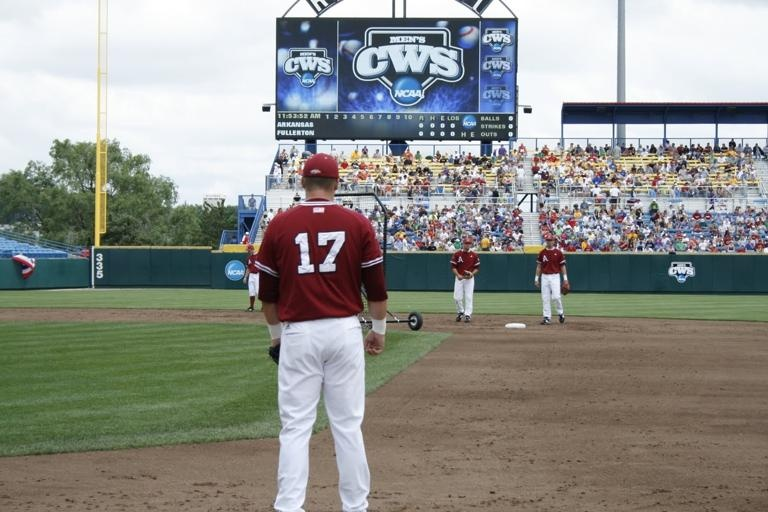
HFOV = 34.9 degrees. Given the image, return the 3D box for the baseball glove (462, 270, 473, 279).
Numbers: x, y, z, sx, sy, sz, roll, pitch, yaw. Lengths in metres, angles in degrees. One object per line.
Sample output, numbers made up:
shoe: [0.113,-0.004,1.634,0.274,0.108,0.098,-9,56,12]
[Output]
baseball glove: [2.803,0.648,40.745,0.317,0.274,0.115,1,-1,-26]

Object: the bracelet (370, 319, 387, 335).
bracelet: [-0.123,1.712,29.337,0.348,0.344,0.377,28,23,38]

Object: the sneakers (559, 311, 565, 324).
sneakers: [5.864,2.012,40.395,0.164,0.469,0.201,-2,-39,10]

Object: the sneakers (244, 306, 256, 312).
sneakers: [-4.806,1.933,43.841,0.159,0.176,0.422,2,0,-35]

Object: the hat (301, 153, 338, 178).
hat: [-1.498,-2.062,29.627,0.913,0.558,1.325,2,6,1]

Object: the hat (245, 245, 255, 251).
hat: [-4.864,-0.236,44.098,0.245,0.241,0.312,1,4,0]
